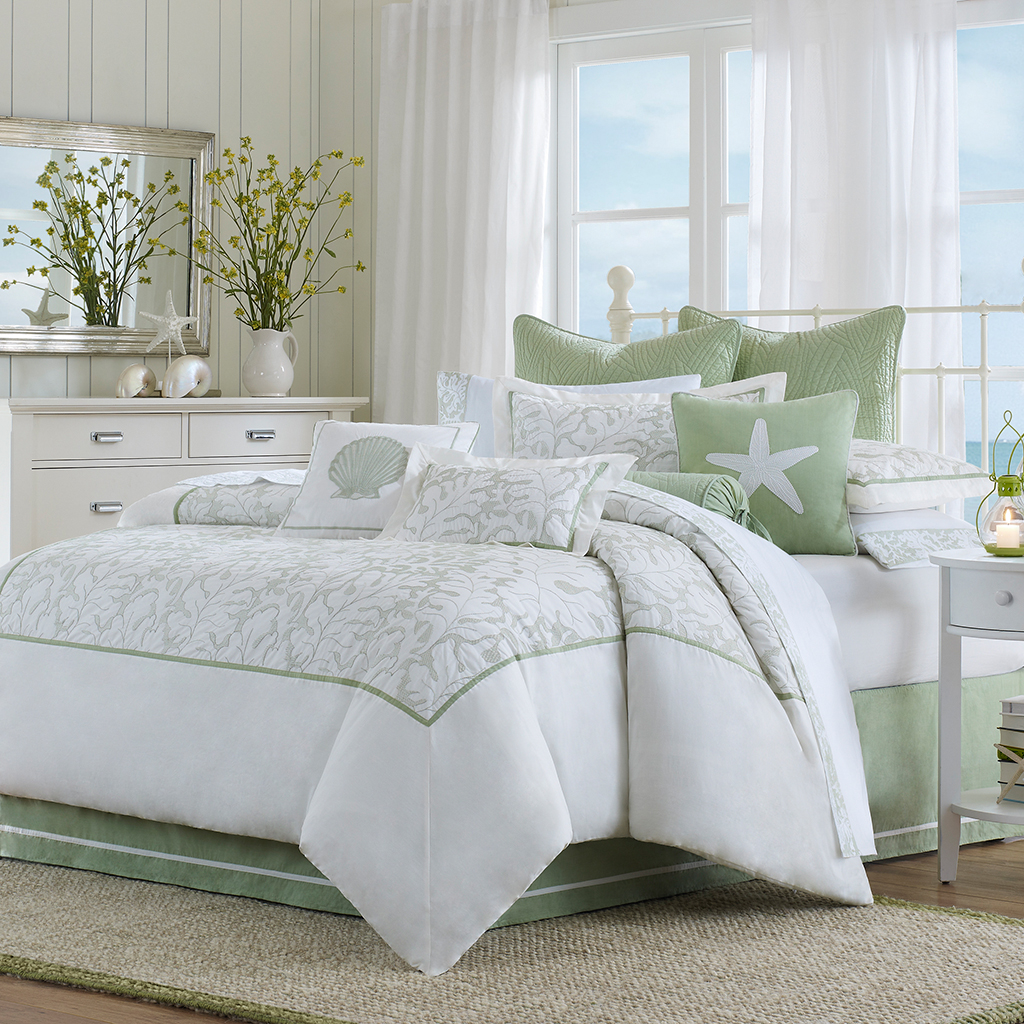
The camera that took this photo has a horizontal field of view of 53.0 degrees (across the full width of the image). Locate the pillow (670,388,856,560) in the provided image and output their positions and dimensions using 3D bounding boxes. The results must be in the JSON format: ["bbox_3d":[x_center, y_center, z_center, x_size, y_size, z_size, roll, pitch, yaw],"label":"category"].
[{"bbox_3d":[0.522,-0.067,2.073,0.305,0.314,0.119,1,-13,20],"label":"pillow"}]

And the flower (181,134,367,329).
[{"bbox_3d":[-0.992,-1.179,4.384,0.775,0.917,0.706,4,3,17],"label":"flower"}]

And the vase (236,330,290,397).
[{"bbox_3d":[-0.961,-0.583,4.043,0.189,0.264,0.239,5,7,20],"label":"vase"}]

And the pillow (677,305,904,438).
[{"bbox_3d":[0.707,-0.310,2.567,0.540,0.455,0.196,3,-10,11],"label":"pillow"}]
